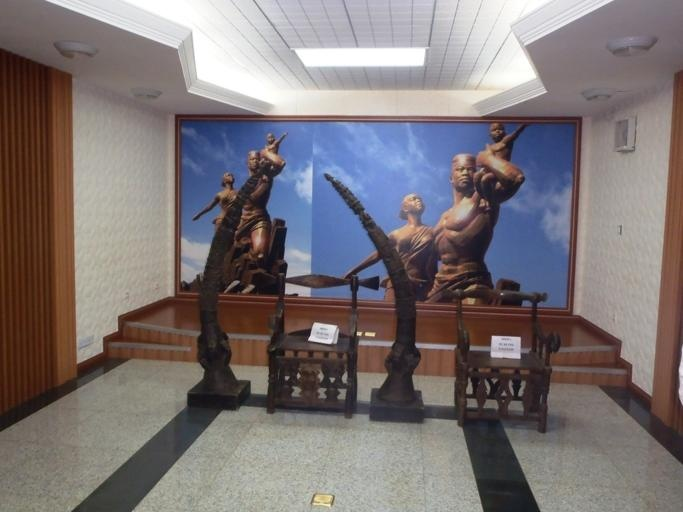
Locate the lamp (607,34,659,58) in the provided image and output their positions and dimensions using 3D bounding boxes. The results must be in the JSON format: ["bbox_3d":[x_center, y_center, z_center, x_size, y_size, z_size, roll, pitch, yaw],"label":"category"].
[{"bbox_3d":[2.445,-1.778,4.348,0.384,0.092,0.294,4,5,24],"label":"lamp"}]

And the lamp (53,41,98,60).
[{"bbox_3d":[-2.458,-1.919,4.762,0.365,0.088,0.275,-1,5,-26],"label":"lamp"}]

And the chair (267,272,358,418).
[{"bbox_3d":[-0.275,0.850,5.317,0.907,1.360,0.851,2,4,2],"label":"chair"}]

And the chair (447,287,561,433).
[{"bbox_3d":[1.526,0.988,5.024,0.993,1.282,0.926,2,2,15],"label":"chair"}]
